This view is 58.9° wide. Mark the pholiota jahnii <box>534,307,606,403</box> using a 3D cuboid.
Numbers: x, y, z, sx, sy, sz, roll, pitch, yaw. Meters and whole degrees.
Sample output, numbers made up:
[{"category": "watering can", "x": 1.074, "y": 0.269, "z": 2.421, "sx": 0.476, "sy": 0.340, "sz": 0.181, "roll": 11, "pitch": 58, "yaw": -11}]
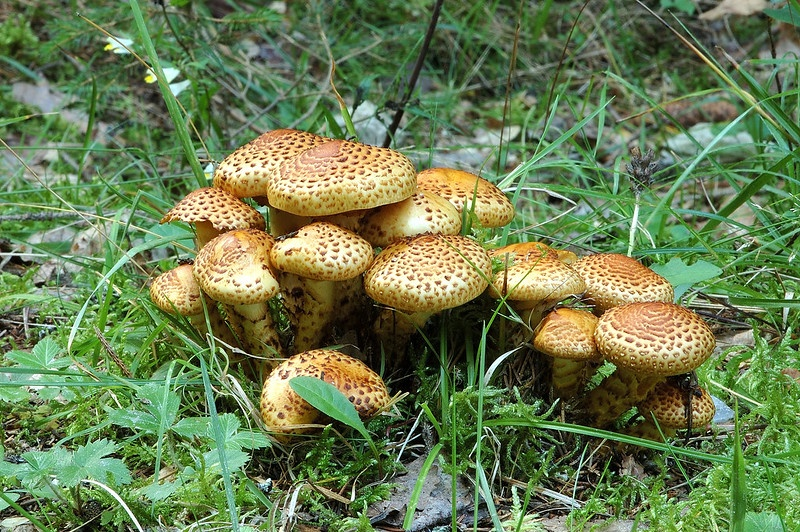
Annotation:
[{"category": "pholiota jahnii", "x": 1.011, "y": 0.538, "z": 4.303, "sx": 0.422, "sy": 0.412, "sz": 0.550, "roll": -2, "pitch": 96, "yaw": -17}]

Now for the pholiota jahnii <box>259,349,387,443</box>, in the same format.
[{"category": "pholiota jahnii", "x": -0.446, "y": 0.707, "z": 4.105, "sx": 0.728, "sy": 0.287, "sz": 0.427, "roll": -12, "pitch": 66, "yaw": -7}]

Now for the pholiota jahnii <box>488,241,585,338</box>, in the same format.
[{"category": "pholiota jahnii", "x": 0.799, "y": 0.084, "z": 4.340, "sx": 0.537, "sy": 0.530, "sz": 0.473, "roll": -5, "pitch": 105, "yaw": -24}]

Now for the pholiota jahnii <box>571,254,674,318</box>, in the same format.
[{"category": "pholiota jahnii", "x": 1.346, "y": 0.140, "z": 4.319, "sx": 0.428, "sy": 0.431, "sz": 0.271, "roll": 15, "pitch": 100, "yaw": -2}]

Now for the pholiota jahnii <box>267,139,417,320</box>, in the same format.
[{"category": "pholiota jahnii", "x": -0.312, "y": -0.373, "z": 4.171, "sx": 0.573, "sy": 0.557, "sz": 0.376, "roll": -33, "pitch": 126, "yaw": -35}]

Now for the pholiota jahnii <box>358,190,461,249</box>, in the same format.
[{"category": "pholiota jahnii", "x": 0.104, "y": -0.222, "z": 4.324, "sx": 0.416, "sy": 0.389, "sz": 0.177, "roll": 4, "pitch": 81, "yaw": -38}]
